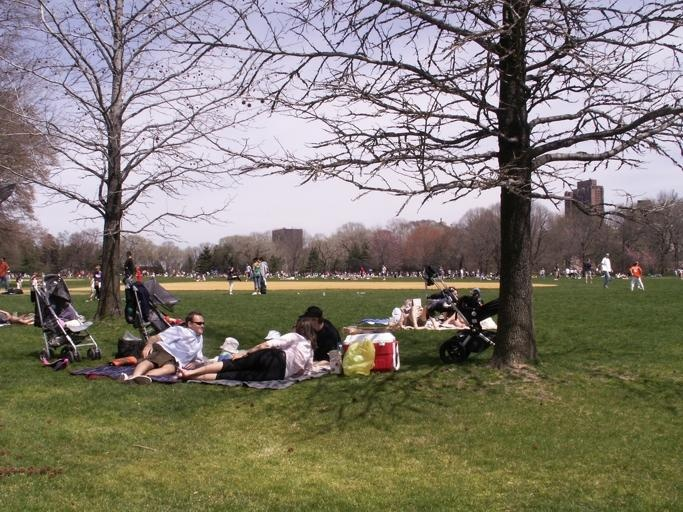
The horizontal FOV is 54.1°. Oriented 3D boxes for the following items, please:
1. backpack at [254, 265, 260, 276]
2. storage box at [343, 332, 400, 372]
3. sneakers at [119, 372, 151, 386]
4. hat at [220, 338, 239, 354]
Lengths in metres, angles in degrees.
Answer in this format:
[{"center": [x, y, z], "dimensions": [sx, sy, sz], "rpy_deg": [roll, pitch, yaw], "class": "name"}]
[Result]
[{"center": [-4.460, 0.777, 35.462], "dimensions": [0.421, 0.645, 0.295], "rpy_deg": [-5, 15, -17], "class": "backpack"}, {"center": [0.880, 2.101, 15.279], "dimensions": [1.156, 0.822, 0.856], "rpy_deg": [0, 3, 12], "class": "storage box"}, {"center": [-4.377, 2.645, 14.331], "dimensions": [0.684, 0.275, 0.255], "rpy_deg": [1, 0, 5], "class": "sneakers"}, {"center": [-2.823, 2.315, 17.241], "dimensions": [0.417, 0.242, 0.436], "rpy_deg": [10, 3, 20], "class": "hat"}]
